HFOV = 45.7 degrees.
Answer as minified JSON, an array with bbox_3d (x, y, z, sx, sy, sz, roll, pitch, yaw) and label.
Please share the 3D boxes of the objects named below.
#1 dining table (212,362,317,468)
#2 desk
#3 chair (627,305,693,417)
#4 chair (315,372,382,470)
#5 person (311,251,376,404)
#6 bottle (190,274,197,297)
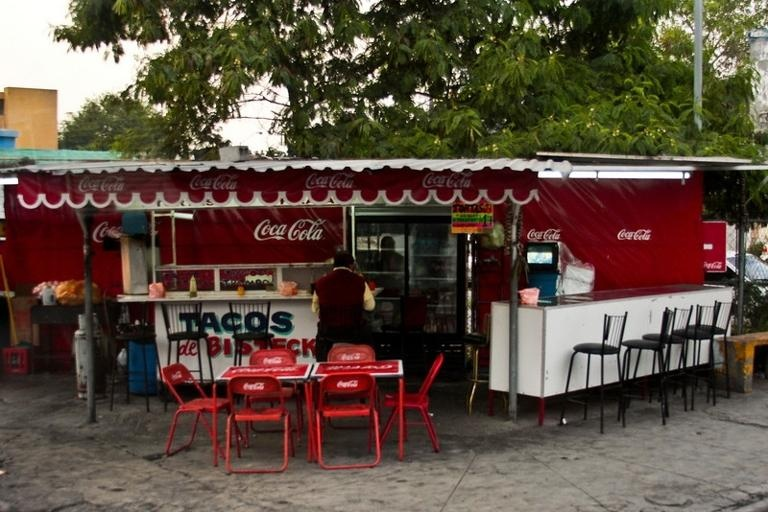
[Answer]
[{"bbox_3d":[-1.647,2.368,13.649,1.318,1.361,1.420,-1,3,6],"label":"dining table"},{"bbox_3d":[-5.846,1.555,16.819,1.322,1.401,0.749,0,-3,-2],"label":"desk"},{"bbox_3d":[4.341,1.818,15.112,0.797,1.902,0.768,1,5,11],"label":"chair"},{"bbox_3d":[-0.540,2.215,13.575,1.081,1.785,1.295,-1,20,-2],"label":"chair"},{"bbox_3d":[-0.700,0.896,16.040,1.128,2.494,1.466,1,23,-5],"label":"person"},{"bbox_3d":[-3.364,0.525,16.207,0.147,0.389,0.490,-2,-3,-12],"label":"bottle"}]
